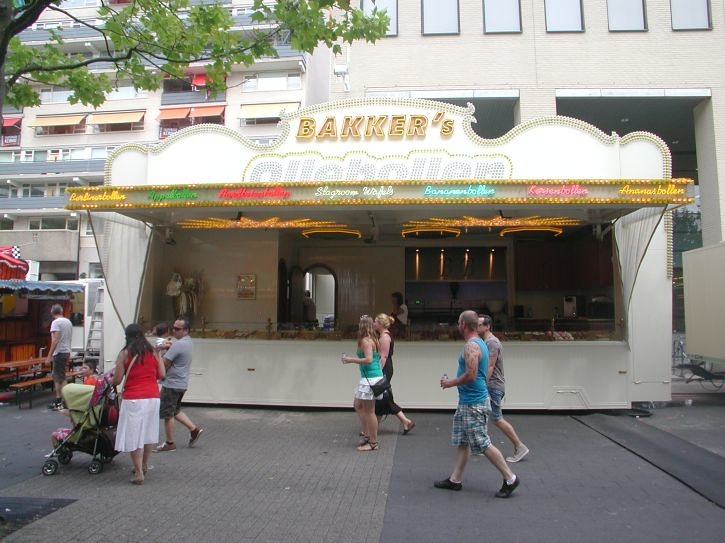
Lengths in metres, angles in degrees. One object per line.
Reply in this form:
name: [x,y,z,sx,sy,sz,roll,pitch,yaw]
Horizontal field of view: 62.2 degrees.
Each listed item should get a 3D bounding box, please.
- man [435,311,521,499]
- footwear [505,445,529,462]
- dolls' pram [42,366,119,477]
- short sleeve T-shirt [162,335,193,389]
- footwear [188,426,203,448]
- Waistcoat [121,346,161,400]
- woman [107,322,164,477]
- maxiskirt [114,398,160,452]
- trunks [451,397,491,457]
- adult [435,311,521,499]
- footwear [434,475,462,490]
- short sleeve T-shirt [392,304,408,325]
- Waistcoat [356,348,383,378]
man: [1.557,1.780,8.263,1.077,2.482,0.697,1,6,7]
footwear: [2.392,2.878,9.432,0.485,0.214,0.179,-28,-16,40]
dolls' pram: [-4.219,2.247,9.121,0.995,1.400,0.799,0,2,-15]
short sleeve T-shirt: [-3.044,1.472,9.841,0.449,0.821,0.690,4,-9,-18]
footwear: [-2.791,2.747,9.945,0.176,0.414,0.160,34,34,8]
Waistcoat: [-3.214,1.426,8.590,0.399,0.742,0.531,-8,-8,39]
woman: [-3.287,1.883,8.617,0.694,2.153,0.693,-9,-10,33]
maxiskirt: [-3.213,2.107,8.602,0.479,0.795,0.653,3,1,32]
trunks: [1.571,1.953,8.232,0.426,0.771,0.660,-4,26,2]
adult: [1.558,1.780,8.264,1.078,2.482,0.698,1,6,7]
footwear: [1.199,2.937,8.398,0.355,0.145,0.153,2,-5,9]
short sleeve T-shirt: [0.842,0.951,13.353,0.421,0.399,0.228,-2,-4,-9]
Waistcoat: [0.142,1.507,9.849,0.499,0.659,0.392,-3,-12,-1]
